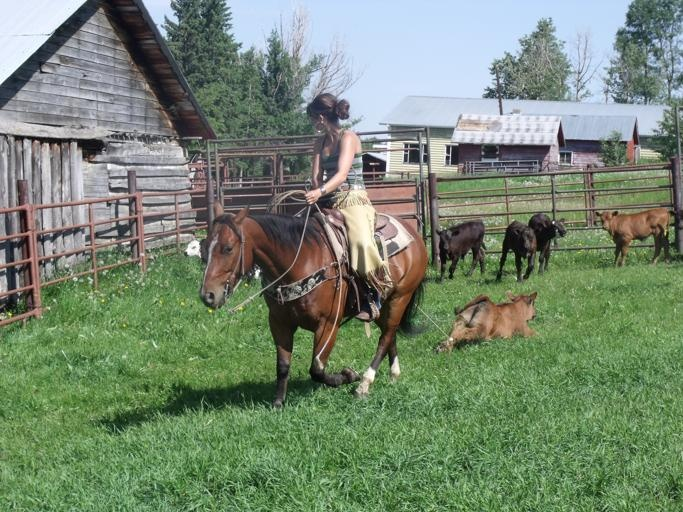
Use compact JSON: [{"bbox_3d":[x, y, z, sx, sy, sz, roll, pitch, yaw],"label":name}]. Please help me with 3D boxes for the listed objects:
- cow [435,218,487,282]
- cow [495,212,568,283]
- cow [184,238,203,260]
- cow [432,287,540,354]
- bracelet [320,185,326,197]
[{"bbox_3d":[2.916,-0.137,16.895,0.809,1.343,2.220,3,13,34],"label":"cow"},{"bbox_3d":[4.402,-0.166,16.231,1.033,1.297,1.883,6,14,43],"label":"cow"},{"bbox_3d":[-3.416,-0.151,15.821,0.399,0.243,0.561,0,13,-2],"label":"cow"},{"bbox_3d":[2.480,1.018,11.066,1.644,1.011,0.568,2,-4,-22],"label":"cow"},{"bbox_3d":[-0.218,-0.787,8.307,0.066,0.125,0.107,3,3,8],"label":"bracelet"}]
